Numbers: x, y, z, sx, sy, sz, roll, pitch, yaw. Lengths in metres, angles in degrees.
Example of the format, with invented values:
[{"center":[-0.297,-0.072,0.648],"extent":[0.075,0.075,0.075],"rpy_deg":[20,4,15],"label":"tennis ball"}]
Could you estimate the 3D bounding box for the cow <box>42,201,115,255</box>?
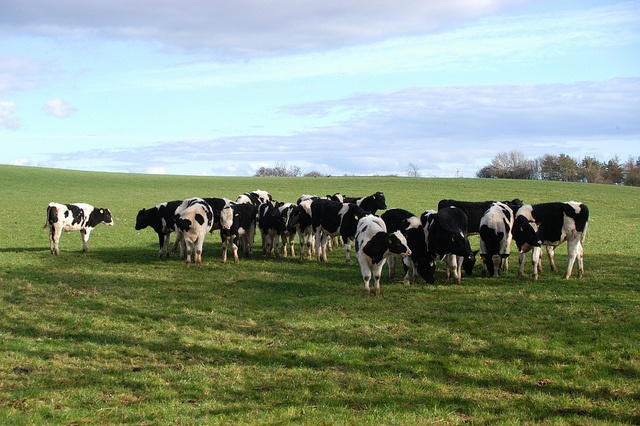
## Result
[{"center":[-10.872,0.593,30.375],"extent":[1.272,2.183,3.660],"rpy_deg":[3,10,13],"label":"cow"}]
